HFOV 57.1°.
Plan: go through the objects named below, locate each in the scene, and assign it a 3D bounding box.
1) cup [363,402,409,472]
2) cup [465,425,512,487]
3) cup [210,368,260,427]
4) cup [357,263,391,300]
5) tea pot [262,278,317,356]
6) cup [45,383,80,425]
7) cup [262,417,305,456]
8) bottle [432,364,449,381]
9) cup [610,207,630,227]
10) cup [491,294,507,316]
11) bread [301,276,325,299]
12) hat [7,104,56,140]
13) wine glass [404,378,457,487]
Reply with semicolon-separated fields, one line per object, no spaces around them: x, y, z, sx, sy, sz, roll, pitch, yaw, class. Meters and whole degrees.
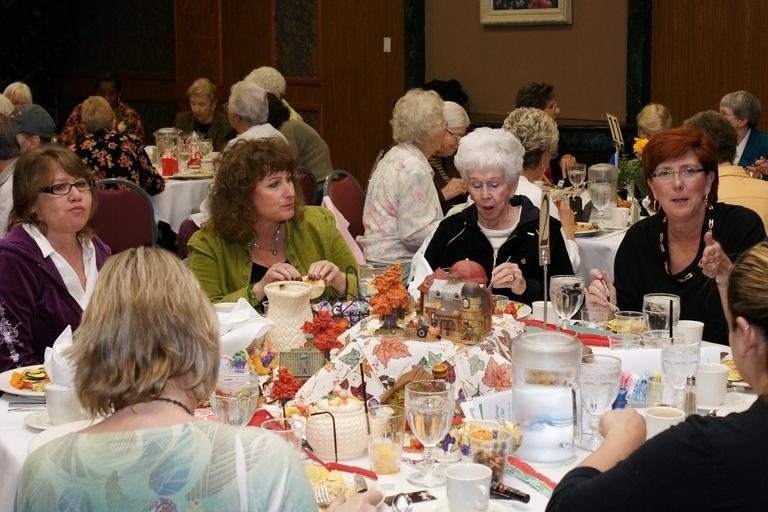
0.003;0.496;1.880;0.121;0.181;0.120;2;-12;0;cup
0.265;0.512;1.847;0.116;0.126;0.119;2;5;0;cup
-0.410;0.401;1.944;0.144;0.166;0.147;3;8;0;cup
-0.033;0.096;2.686;0.100;0.132;0.133;0;0;3;cup
-0.331;0.211;2.470;0.165;0.221;0.153;5;21;-2;tea pot
-0.943;0.434;2.073;0.090;0.098;0.119;-2;0;-12;cup
-0.254;0.449;1.789;0.093;0.078;0.101;-1;-3;0;cup
0.155;0.320;1.949;0.039;0.037;0.041;-1;3;-7;bottle
1.487;-0.247;4.438;0.101;0.126;0.138;5;11;26;cup
0.435;0.185;2.666;0.063;0.052;0.069;0;-3;0;cup
-0.264;0.121;2.689;0.081;0.021;0.084;-17;27;-34;bread
-2.680;-1.043;5.291;0.402;0.246;0.293;12;6;-27;hat
0.120;0.466;1.850;0.136;0.264;0.136;0;2;-9;wine glass
